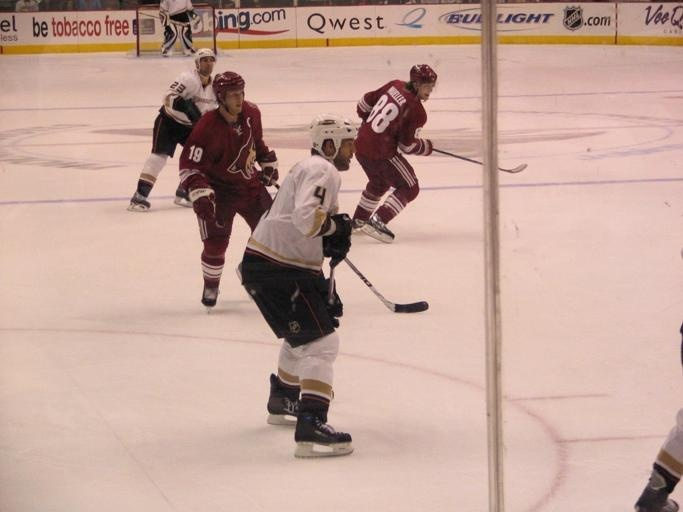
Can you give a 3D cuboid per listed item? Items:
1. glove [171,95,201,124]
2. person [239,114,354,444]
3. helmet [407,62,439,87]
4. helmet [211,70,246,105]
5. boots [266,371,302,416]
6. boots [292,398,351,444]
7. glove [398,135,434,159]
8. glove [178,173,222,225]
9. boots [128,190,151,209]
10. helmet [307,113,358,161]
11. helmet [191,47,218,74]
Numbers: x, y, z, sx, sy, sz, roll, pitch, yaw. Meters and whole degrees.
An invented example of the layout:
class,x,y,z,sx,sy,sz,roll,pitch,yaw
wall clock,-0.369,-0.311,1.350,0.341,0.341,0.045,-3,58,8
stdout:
class,x,y,z,sx,sy,sz,roll,pitch,yaw
glove,-0.873,-0.826,4.966,0.177,0.105,0.046,29,33,19
person,-0.193,0.149,3.847,0.507,1.473,0.486,0,18,0
helmet,0.478,-1.087,5.232,0.160,0.129,0.104,-5,50,-1
helmet,-0.559,-0.831,4.328,0.143,0.141,0.174,-2,16,-8
boots,-0.271,0.633,4.026,0.286,0.213,0.100,0,24,-4
boots,-0.089,0.743,3.860,0.297,0.201,0.097,10,-9,-30
glove,0.459,-0.673,5.434,0.209,0.069,0.116,3,9,-29
glove,-0.729,-0.285,4.504,0.155,0.258,0.075,-3,19,-9
boots,-1.382,-0.389,6.065,0.160,0.123,0.106,-4,20,-8
helmet,-0.043,-0.533,3.912,0.245,0.177,0.180,-5,20,-1
helmet,-0.786,-1.096,4.914,0.119,0.115,0.141,-3,0,-27
